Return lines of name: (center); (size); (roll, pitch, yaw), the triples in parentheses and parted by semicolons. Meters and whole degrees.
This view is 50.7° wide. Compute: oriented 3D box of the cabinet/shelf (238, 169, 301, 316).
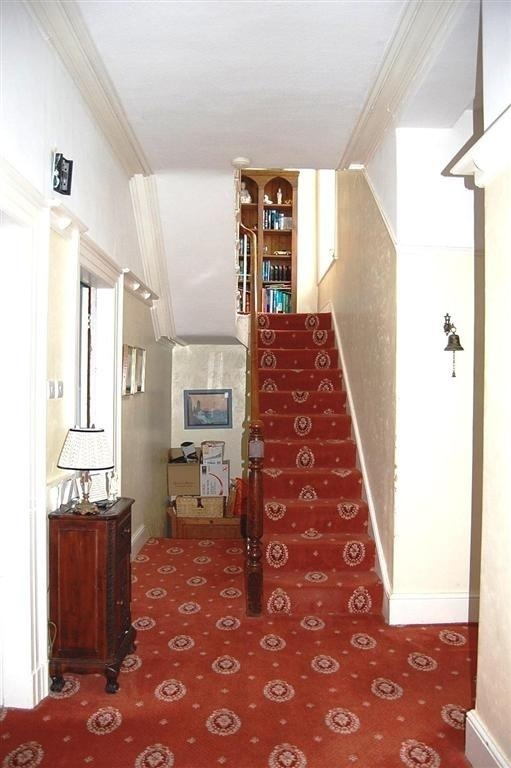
cabinet/shelf: (0.135, -1.935, 7.042); (0.844, 0.353, 2.004); (9, -38, 9)

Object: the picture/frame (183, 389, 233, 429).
picture/frame: (-0.603, 0.318, 6.495); (0.397, 0.404, 0.044); (0, -3, -3)

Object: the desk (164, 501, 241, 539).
desk: (-0.512, 1.355, 5.149); (0.736, 0.237, 0.184); (1, -1, 9)

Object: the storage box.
storage box: (-0.601, 0.936, 5.783); (0.612, 0.702, 0.616); (0, -4, 1)

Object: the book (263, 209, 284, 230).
book: (0.228, -2.120, 6.964); (0.263, 0.304, 0.179); (1, -1, -1)

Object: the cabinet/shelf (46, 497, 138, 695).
cabinet/shelf: (-0.733, 0.937, 2.413); (0.374, 0.795, 0.331); (1, -1, -13)

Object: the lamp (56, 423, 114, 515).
lamp: (-0.747, 0.373, 2.364); (0.220, 0.413, 0.233); (-1, 6, -33)
